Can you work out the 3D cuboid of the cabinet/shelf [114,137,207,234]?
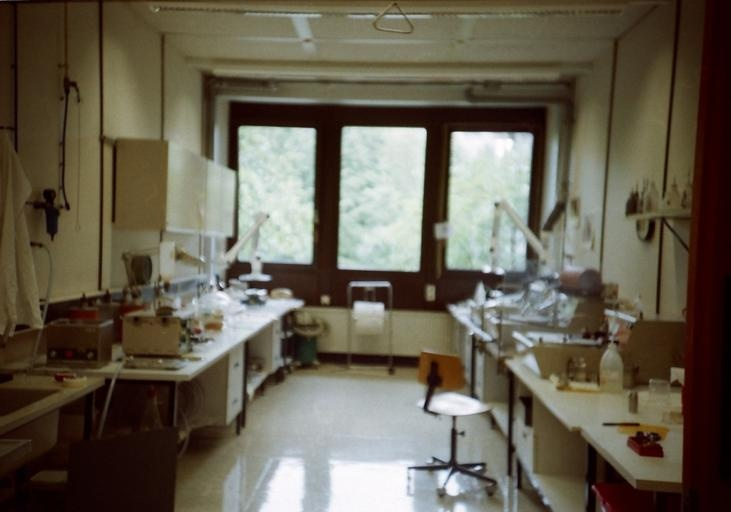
[{"bbox_3d":[-1.675,-0.556,5.202,0.785,0.734,0.419,1,-3,-42],"label":"cabinet/shelf"}]

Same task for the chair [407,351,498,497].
[{"bbox_3d":[0.608,1.136,4.472,0.530,0.925,0.550,0,0,-8],"label":"chair"}]

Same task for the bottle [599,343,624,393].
[{"bbox_3d":[1.502,0.668,3.885,0.128,0.285,0.154,4,12,16],"label":"bottle"}]
